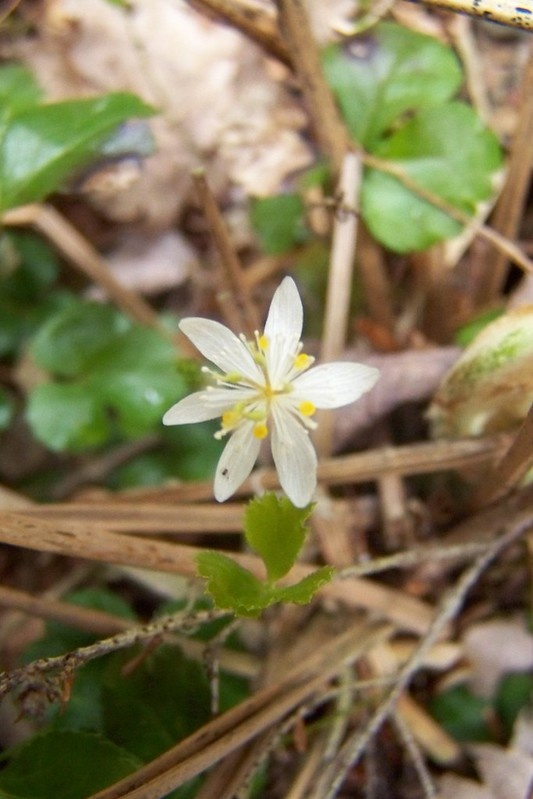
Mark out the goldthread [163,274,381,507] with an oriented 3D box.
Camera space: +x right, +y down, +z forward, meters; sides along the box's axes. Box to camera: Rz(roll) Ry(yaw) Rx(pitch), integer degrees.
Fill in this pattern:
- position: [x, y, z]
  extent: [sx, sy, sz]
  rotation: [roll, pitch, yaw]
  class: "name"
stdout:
- position: [0.002, -0.032, 0.822]
  extent: [0.269, 0.163, 0.086]
  rotation: [15, 70, -2]
  class: "goldthread"
